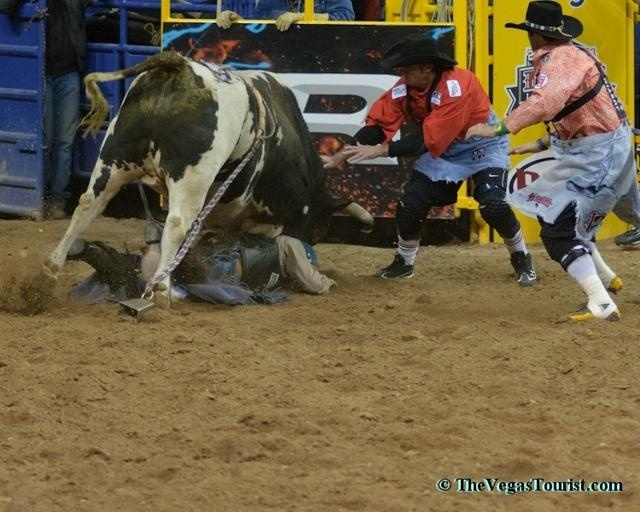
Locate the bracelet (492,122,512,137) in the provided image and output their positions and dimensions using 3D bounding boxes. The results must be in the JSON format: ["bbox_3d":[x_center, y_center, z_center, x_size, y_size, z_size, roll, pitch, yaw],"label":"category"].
[{"bbox_3d":[1.068,-0.749,5.669,0.080,0.071,0.086,-16,3,7],"label":"bracelet"}]

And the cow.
[{"bbox_3d":[-0.765,-0.520,6.107,0.737,1.440,1.644,14,12,29],"label":"cow"}]

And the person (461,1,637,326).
[{"bbox_3d":[1.512,-0.583,5.798,0.989,1.887,0.464,11,12,16],"label":"person"}]

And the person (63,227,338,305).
[{"bbox_3d":[-0.712,0.066,6.135,0.556,0.454,1.793,15,14,39],"label":"person"}]

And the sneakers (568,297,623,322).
[{"bbox_3d":[1.663,0.327,5.789,0.387,0.103,0.112,1,1,4],"label":"sneakers"}]

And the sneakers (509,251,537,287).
[{"bbox_3d":[1.453,0.092,6.888,0.135,0.290,0.155,-28,-37,20],"label":"sneakers"}]

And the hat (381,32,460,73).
[{"bbox_3d":[0.665,-1.354,6.440,0.537,0.137,0.339,-6,-7,12],"label":"hat"}]

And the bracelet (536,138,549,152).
[{"bbox_3d":[1.467,-0.736,6.339,0.105,0.064,0.059,1,11,9],"label":"bracelet"}]

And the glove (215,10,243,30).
[{"bbox_3d":[-0.788,-1.991,8.107,0.177,0.158,0.177,2,10,-23],"label":"glove"}]
